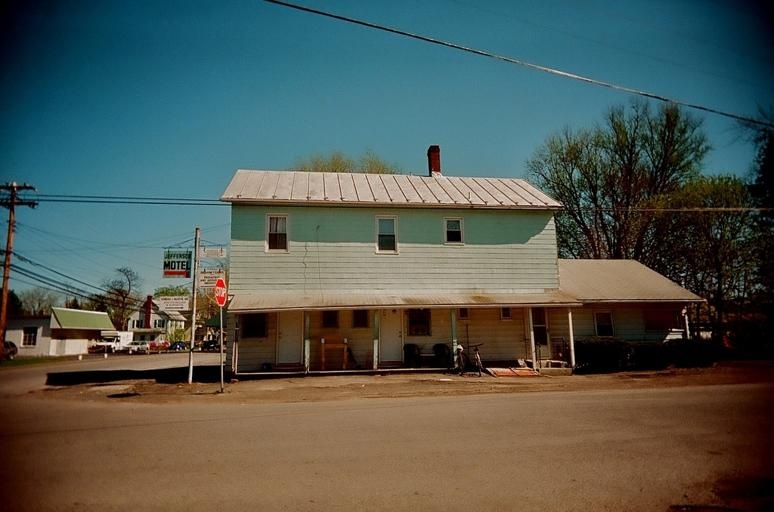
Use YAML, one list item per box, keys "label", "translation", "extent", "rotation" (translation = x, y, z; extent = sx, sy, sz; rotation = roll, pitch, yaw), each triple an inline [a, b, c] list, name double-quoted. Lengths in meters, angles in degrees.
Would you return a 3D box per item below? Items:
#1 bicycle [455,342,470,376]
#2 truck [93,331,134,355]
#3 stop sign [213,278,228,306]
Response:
- label: "bicycle"
  translation: [3.094, 4.253, 25.165]
  extent: [0.517, 1.132, 1.455]
  rotation: [-1, 1, 8]
- label: "truck"
  translation: [-31.449, 9.807, 68.758]
  extent: [3.247, 2.854, 5.650]
  rotation: [-1, -21, -8]
- label: "stop sign"
  translation: [-5.753, 1.269, 20.981]
  extent: [0.371, 0.961, 1.291]
  rotation: [-1, 1, -16]
